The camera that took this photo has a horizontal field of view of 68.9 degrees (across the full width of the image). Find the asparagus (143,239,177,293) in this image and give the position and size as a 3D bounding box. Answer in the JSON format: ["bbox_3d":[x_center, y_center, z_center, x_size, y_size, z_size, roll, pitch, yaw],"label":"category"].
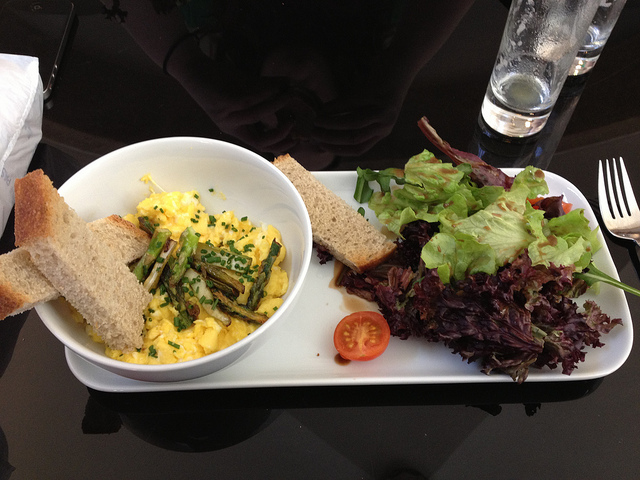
[{"bbox_3d":[-0.757,0.128,2.205,0.123,0.186,0.222,-3,28,-7],"label":"asparagus"}]

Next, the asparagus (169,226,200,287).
[{"bbox_3d":[-0.646,0.079,2.272,0.088,0.079,0.320,13,81,0],"label":"asparagus"}]

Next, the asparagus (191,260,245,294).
[{"bbox_3d":[-0.492,0.182,2.238,0.214,0.042,0.052,29,50,5],"label":"asparagus"}]

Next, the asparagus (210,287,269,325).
[{"bbox_3d":[-0.383,0.316,2.197,0.226,0.069,0.068,24,25,10],"label":"asparagus"}]

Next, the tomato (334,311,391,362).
[{"bbox_3d":[0.205,0.457,2.253,0.281,0.071,0.239,-20,65,-9],"label":"tomato"}]

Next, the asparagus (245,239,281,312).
[{"bbox_3d":[-0.270,0.173,2.305,0.093,0.086,0.371,25,60,-16],"label":"asparagus"}]
